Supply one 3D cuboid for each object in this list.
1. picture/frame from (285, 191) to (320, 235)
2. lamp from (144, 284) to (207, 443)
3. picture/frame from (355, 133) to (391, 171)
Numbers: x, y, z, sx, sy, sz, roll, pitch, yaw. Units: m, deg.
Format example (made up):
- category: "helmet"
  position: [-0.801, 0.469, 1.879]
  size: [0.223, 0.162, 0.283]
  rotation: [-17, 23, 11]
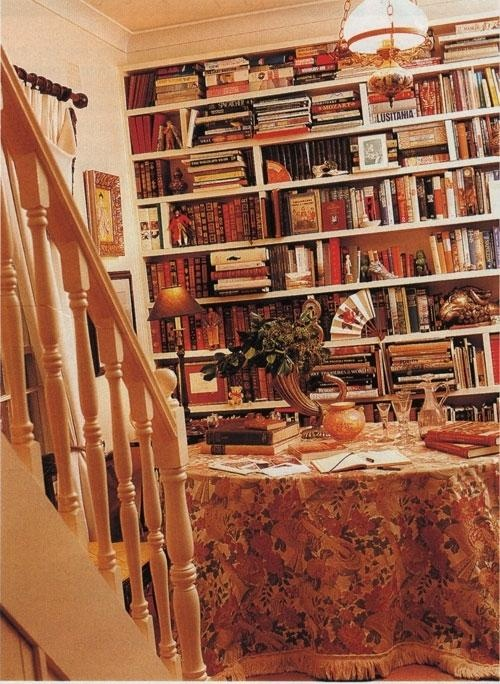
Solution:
- category: "picture/frame"
  position: [0.309, -0.751, 3.621]
  size: [0.175, 0.217, 0.136]
  rotation: [-8, 10, -7]
- category: "lamp"
  position: [-0.356, 0.092, 3.239]
  size: [0.345, 0.716, 0.336]
  rotation: [-3, -13, -17]
- category: "picture/frame"
  position: [0.682, -1.044, 3.446]
  size: [0.217, 0.255, 0.023]
  rotation: [-4, -1, 16]
